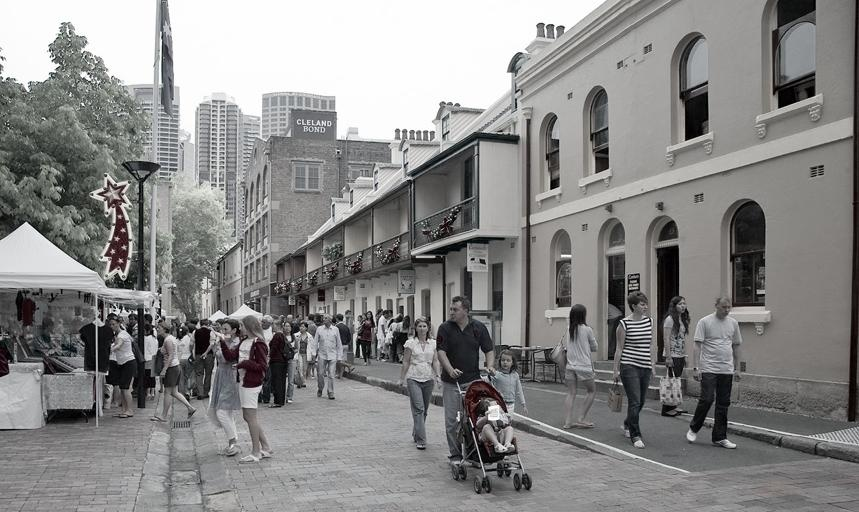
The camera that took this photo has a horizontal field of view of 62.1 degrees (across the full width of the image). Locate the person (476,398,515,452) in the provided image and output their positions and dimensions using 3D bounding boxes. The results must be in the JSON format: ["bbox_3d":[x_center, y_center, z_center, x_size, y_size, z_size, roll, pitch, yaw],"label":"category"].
[{"bbox_3d":[1.201,3.054,12.851,0.659,0.619,1.613,-6,5,-3],"label":"person"}]

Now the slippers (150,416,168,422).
[{"bbox_3d":[-6.715,4.057,17.685,0.422,0.114,0.259,2,6,36],"label":"slippers"}]

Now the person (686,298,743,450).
[{"bbox_3d":[5.696,2.321,14.233,0.944,3.022,0.717,1,7,19],"label":"person"}]

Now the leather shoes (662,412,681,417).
[{"bbox_3d":[5.659,3.706,16.595,0.402,0.130,0.151,-2,-3,5],"label":"leather shoes"}]

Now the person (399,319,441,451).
[{"bbox_3d":[-0.173,2.654,14.743,0.750,2.721,0.766,-1,6,-1],"label":"person"}]

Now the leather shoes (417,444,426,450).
[{"bbox_3d":[-0.149,3.931,14.668,0.156,0.114,0.108,-1,6,4],"label":"leather shoes"}]

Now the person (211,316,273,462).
[{"bbox_3d":[-3.604,2.625,14.161,0.832,2.854,0.885,-3,6,-16],"label":"person"}]

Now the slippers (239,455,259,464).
[{"bbox_3d":[-3.495,3.995,13.954,0.293,0.100,0.172,6,-9,-10],"label":"slippers"}]

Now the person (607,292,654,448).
[{"bbox_3d":[4.172,2.296,14.479,0.735,3.039,1.077,1,6,18],"label":"person"}]

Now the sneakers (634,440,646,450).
[{"bbox_3d":[4.215,3.745,14.180,0.240,0.129,0.192,-2,5,-7],"label":"sneakers"}]

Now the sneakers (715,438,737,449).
[{"bbox_3d":[5.905,3.734,14.162,0.410,0.160,0.156,1,0,11],"label":"sneakers"}]

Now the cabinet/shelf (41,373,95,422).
[{"bbox_3d":[-8.863,3.552,17.242,1.221,1.045,1.319,-27,-24,27],"label":"cabinet/shelf"}]

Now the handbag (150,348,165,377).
[{"bbox_3d":[-7.598,2.955,19.897,0.383,1.035,0.811,3,-1,-25],"label":"handbag"}]

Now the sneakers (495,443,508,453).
[{"bbox_3d":[1.266,3.366,12.396,0.097,0.096,0.201,-1,-4,-45],"label":"sneakers"}]
